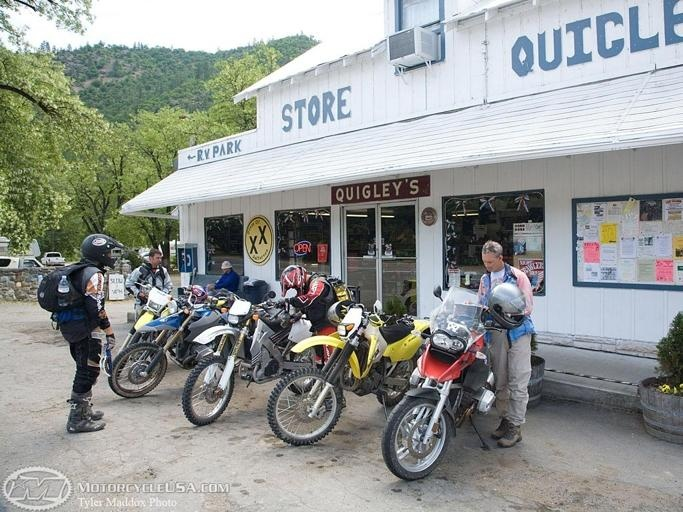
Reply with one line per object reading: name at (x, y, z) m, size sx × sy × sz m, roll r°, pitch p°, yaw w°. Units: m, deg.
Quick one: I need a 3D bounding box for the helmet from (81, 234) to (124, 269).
helmet at (-3.202, -0.070, 7.947) m, size 0.499 × 0.456 × 0.422 m, roll -2°, pitch 1°, yaw -28°

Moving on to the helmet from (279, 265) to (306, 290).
helmet at (-0.636, 0.285, 8.028) m, size 0.335 × 0.332 × 0.264 m, roll 7°, pitch -14°, yaw -42°

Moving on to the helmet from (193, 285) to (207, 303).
helmet at (-2.383, 0.614, 9.796) m, size 0.164 × 0.204 × 0.358 m, roll -3°, pitch -11°, yaw 7°

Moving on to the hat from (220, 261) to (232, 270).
hat at (-2.572, 0.217, 13.003) m, size 0.266 × 0.153 × 0.210 m, roll 12°, pitch 17°, yaw 23°

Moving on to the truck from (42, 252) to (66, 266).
truck at (-24.362, 0.210, 50.047) m, size 1.508 × 1.119 × 3.195 m, roll 0°, pitch 4°, yaw -32°

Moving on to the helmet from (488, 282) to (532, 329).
helmet at (1.914, 0.555, 6.729) m, size 0.466 × 0.511 × 0.390 m, roll -1°, pitch 8°, yaw 18°

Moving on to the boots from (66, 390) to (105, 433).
boots at (-3.289, 1.950, 7.615) m, size 0.462 × 0.501 × 0.433 m, roll 0°, pitch 3°, yaw -26°

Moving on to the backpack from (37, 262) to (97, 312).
backpack at (-3.565, 0.415, 7.678) m, size 0.604 × 0.618 × 0.462 m, roll 3°, pitch -5°, yaw -37°

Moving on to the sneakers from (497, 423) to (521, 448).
sneakers at (2.015, 2.147, 7.086) m, size 0.138 × 0.212 × 0.416 m, roll -5°, pitch -5°, yaw 44°

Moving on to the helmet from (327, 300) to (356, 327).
helmet at (-0.005, 0.704, 7.585) m, size 0.131 × 0.266 × 0.337 m, roll 22°, pitch 53°, yaw 14°

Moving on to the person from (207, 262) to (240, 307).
person at (-2.372, 0.552, 11.994) m, size 0.652 × 1.238 × 0.490 m, roll 0°, pitch 13°, yaw -24°

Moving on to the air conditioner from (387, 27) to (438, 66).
air conditioner at (1.331, -3.981, 11.394) m, size 0.490 × 0.562 × 0.846 m, roll -3°, pitch 5°, yaw -39°

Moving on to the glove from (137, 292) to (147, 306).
glove at (-3.405, 0.709, 10.137) m, size 0.142 × 0.192 × 0.129 m, roll -9°, pitch 45°, yaw -29°

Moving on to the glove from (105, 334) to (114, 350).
glove at (-2.982, 1.089, 7.656) m, size 0.125 × 0.177 × 0.178 m, roll 1°, pitch -17°, yaw -6°

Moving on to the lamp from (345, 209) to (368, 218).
lamp at (0.321, -0.890, 12.373) m, size 0.067 × 0.165 × 0.578 m, roll -2°, pitch 4°, yaw -43°

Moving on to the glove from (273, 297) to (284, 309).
glove at (-0.921, 0.678, 8.679) m, size 0.181 × 0.099 × 0.266 m, roll 0°, pitch 20°, yaw 6°
